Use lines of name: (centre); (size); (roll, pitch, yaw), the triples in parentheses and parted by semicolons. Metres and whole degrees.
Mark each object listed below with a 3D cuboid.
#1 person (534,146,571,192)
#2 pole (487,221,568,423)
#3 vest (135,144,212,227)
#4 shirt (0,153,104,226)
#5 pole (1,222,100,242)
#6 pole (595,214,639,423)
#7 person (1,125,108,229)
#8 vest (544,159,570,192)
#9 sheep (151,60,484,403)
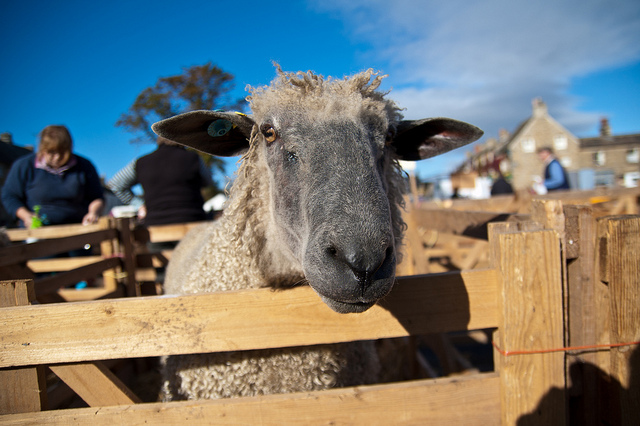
person: (2.131, -0.397, 5.416); (0.242, 0.468, 1.598); (-4, 5, 22)
pole: (1.540, 0.791, 4.304); (0.561, 1.479, 0.273); (-5, 5, 7)
vest: (-1.827, -0.265, 7.318); (0.903, 1.073, 0.671); (-5, -13, 4)
shirt: (-3.178, -0.275, 6.925); (0.785, 0.650, 0.435); (-2, 5, -34)
pole: (-3.165, 0.235, 6.981); (1.428, 0.162, 0.465); (-5, 5, 22)
pole: (2.150, 0.783, 4.269); (0.364, 1.500, 0.173); (-4, 5, 20)
person: (-3.184, -0.387, 6.936); (1.068, 0.905, 0.900); (-8, 5, -15)
vest: (2.243, -0.329, 5.605); (0.209, 0.371, 1.648); (-4, 5, 22)
sheep: (-0.155, 0.183, 4.995); (2.402, 2.861, 1.436); (-4, 5, 26)
